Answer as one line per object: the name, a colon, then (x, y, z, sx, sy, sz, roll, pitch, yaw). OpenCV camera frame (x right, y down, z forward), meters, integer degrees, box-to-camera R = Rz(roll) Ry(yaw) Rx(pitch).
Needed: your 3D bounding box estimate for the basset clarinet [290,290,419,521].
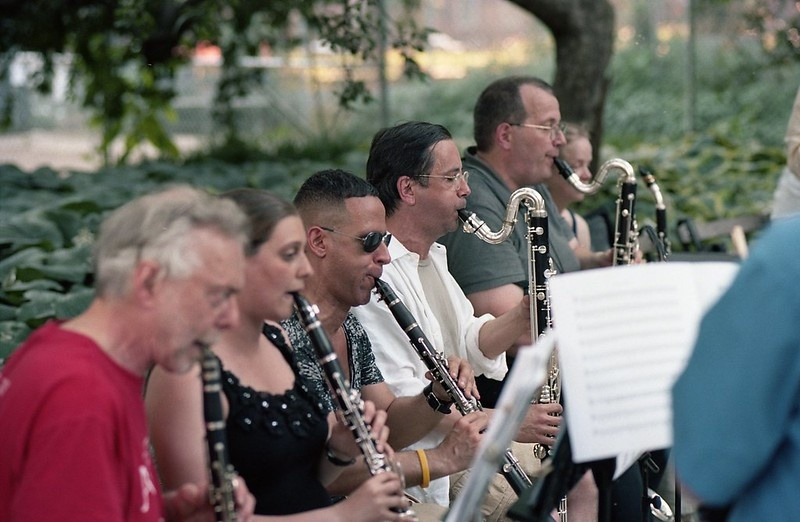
basset clarinet: (-0.283, 0.866, 5.875, 0.185, 1.331, 0.224, -23, -2, -39)

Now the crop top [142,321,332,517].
crop top: (-0.710, 0.930, 5.563, 0.216, 0.841, 0.491, -16, -11, 35)

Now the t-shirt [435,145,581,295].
t-shirt: (0.690, -0.247, 7.433, 0.957, 1.136, 0.340, 6, -30, -39)

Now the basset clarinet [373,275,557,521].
basset clarinet: (0.360, 0.846, 6.083, 0.252, 1.725, 0.305, -39, -9, -8)
